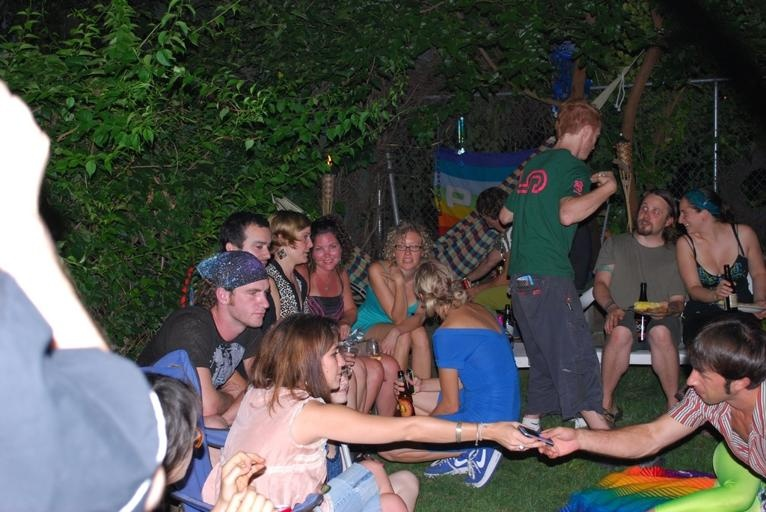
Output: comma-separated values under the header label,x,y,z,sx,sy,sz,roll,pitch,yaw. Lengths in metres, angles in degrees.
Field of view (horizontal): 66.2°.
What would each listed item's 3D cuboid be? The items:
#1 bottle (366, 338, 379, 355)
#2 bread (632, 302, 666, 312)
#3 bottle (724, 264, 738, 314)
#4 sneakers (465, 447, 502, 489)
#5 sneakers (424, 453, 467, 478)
label,x,y,z,sx,sy,sz,roll,pitch,yaw
bottle,-0.078,0.707,4.627,0.103,0.162,0.111,-8,2,0
bread,2.169,0.404,4.760,0.252,0.048,0.163,-8,10,-7
bottle,2.784,0.248,4.681,0.090,0.305,0.312,-1,13,30
sneakers,0.653,1.400,3.940,0.184,0.403,0.134,14,23,-6
sneakers,0.452,1.452,4.070,0.357,0.155,0.127,1,2,-3
